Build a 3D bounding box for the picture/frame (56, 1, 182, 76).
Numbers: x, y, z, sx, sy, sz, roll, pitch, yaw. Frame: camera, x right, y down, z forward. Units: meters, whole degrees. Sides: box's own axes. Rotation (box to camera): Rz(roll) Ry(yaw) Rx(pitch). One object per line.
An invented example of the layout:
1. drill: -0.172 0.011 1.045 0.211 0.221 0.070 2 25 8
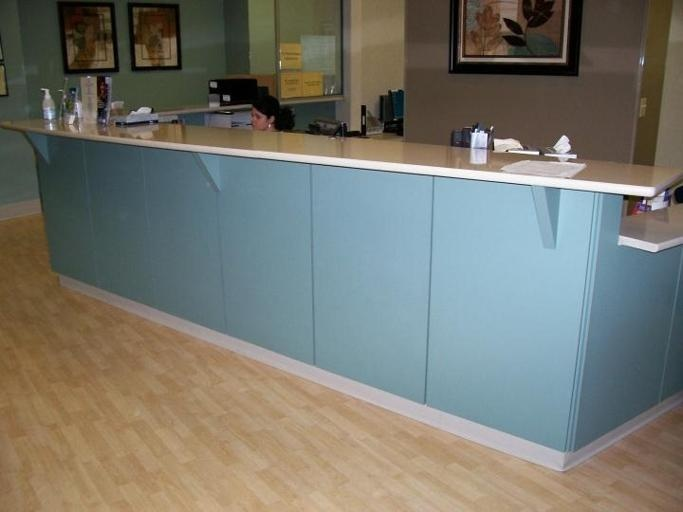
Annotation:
1. picture/frame: -2.852 -2.844 6.772 1.566 0.864 0.135 -19 25 -41
